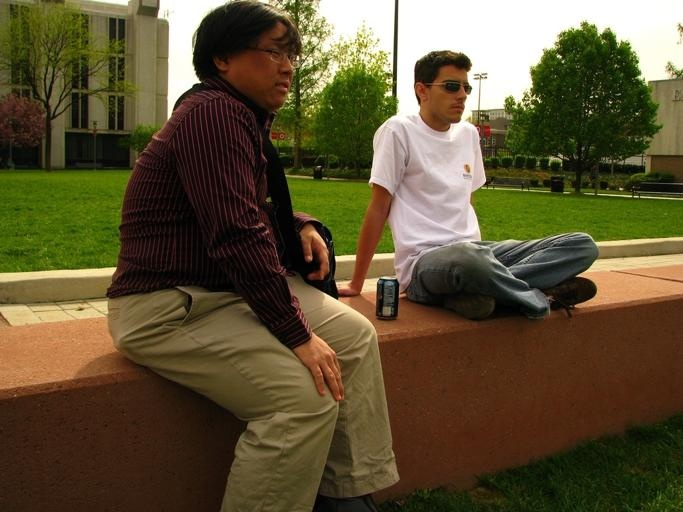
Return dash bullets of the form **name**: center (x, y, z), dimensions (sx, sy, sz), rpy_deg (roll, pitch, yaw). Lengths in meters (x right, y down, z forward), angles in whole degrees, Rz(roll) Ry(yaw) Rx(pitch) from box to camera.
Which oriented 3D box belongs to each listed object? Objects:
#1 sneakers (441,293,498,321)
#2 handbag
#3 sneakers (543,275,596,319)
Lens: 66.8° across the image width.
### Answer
- **sneakers**: center (0.685, 0.269, 2.778), dimensions (0.104, 0.151, 0.310), rpy_deg (-13, 0, -33)
- **handbag**: center (-0.134, 0.018, 2.361), dimensions (0.186, 0.363, 0.130), rpy_deg (-6, 31, 36)
- **sneakers**: center (1.272, 0.212, 2.970), dimensions (0.364, 0.149, 0.157), rpy_deg (-22, 10, 20)
